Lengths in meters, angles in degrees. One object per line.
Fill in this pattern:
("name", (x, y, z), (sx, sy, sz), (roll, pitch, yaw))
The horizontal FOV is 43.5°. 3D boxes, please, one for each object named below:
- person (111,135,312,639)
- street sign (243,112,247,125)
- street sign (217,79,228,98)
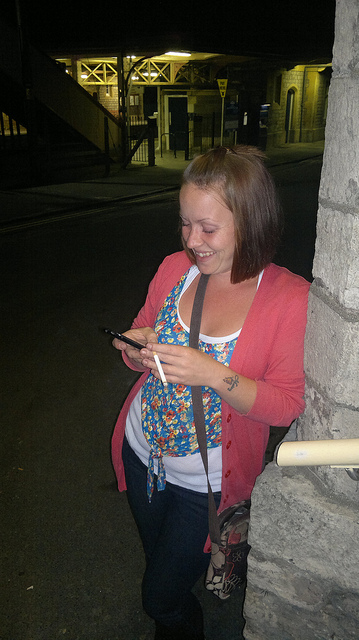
("person", (0.088, 0.572, 1.936), (0.734, 2.493, 0.793), (-3, 18, -10))
("street sign", (3.339, -10.146, 22.689), (0.182, 0.553, 0.066), (-15, 23, -40))
("street sign", (1.841, -10.000, 19.423), (0.339, 0.792, 1.065), (2, 18, 7))
